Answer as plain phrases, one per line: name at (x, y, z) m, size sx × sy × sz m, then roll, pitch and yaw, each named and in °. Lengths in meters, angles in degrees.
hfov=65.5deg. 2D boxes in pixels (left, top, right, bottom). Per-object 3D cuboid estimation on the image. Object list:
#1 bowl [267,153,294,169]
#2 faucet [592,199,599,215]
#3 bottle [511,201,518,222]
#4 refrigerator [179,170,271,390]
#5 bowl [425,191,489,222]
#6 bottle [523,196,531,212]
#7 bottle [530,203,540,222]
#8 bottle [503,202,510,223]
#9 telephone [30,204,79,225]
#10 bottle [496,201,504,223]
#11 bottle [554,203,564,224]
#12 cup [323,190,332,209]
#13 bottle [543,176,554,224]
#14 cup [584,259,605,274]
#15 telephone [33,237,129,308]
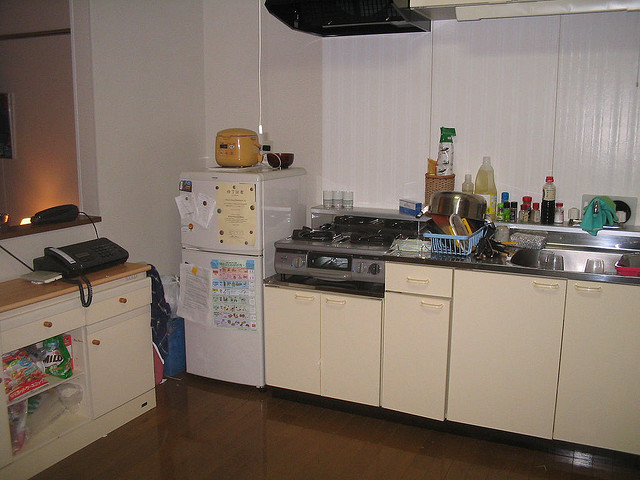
bowl at (-0.300, -0.598, 3.761) m, size 0.196 × 0.115 × 0.113 m, roll -8°, pitch 14°, yaw -36°
faucet at (1.721, -0.205, 3.101) m, size 0.035 × 0.092 × 0.031 m, roll 3°, pitch 11°, yaw 14°
bottle at (1.342, -0.203, 3.432) m, size 0.048 × 0.128 × 0.132 m, roll 5°, pitch 12°, yaw 21°
refrigerator at (-0.691, 0.269, 3.530) m, size 0.648 × 1.475 × 0.229 m, roll 5°, pitch 12°, yaw 21°
bowl at (0.854, -0.214, 3.154) m, size 0.398 × 0.163 × 0.392 m, roll 2°, pitch 9°, yaw 0°
bottle at (1.399, -0.262, 3.358) m, size 0.059 × 0.100 × 0.058 m, roll 0°, pitch 7°, yaw 0°
bottle at (1.454, -0.183, 3.357) m, size 0.057 × 0.119 × 0.045 m, roll 3°, pitch 11°, yaw 13°
bottle at (1.272, -0.191, 3.378) m, size 0.042 × 0.122 × 0.056 m, roll 2°, pitch 11°, yaw 7°
telephone at (-1.683, -0.179, 3.176) m, size 0.118 × 0.073 × 0.222 m, roll 26°, pitch 25°, yaw 36°
bottle at (1.243, -0.196, 3.426) m, size 0.051 × 0.121 × 0.231 m, roll 4°, pitch 12°, yaw 19°
bottle at (1.587, -0.176, 3.296) m, size 0.053 × 0.130 × 0.067 m, roll 2°, pitch 11°, yaw 9°
cup at (0.057, -0.312, 3.869) m, size 0.069 × 0.128 × 0.095 m, roll 0°, pitch 11°, yaw -1°
bottle at (1.533, -0.268, 3.327) m, size 0.073 × 0.295 × 0.073 m, roll 0°, pitch 11°, yaw 0°
cup at (1.614, 0.156, 2.915) m, size 0.080 × 0.107 × 0.109 m, roll -1°, pitch 3°, yaw -34°
telephone at (-1.453, 0.131, 3.069) m, size 0.451 × 0.189 × 0.604 m, roll 11°, pitch 16°, yaw 7°
